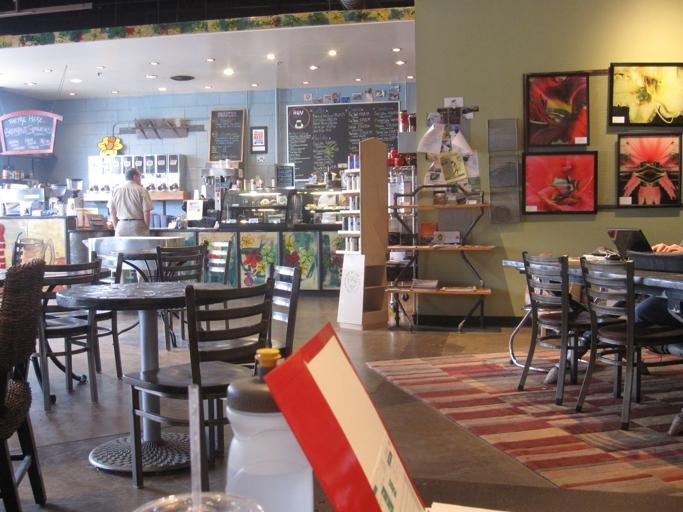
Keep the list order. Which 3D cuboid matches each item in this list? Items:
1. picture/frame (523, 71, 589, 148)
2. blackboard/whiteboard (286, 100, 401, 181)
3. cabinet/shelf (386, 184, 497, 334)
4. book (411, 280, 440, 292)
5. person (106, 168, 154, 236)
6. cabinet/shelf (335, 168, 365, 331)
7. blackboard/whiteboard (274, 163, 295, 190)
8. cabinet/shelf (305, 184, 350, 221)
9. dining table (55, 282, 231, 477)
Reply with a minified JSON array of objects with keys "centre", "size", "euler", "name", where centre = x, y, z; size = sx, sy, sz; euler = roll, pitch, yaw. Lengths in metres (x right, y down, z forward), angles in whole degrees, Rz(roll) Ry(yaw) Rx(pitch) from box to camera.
[{"centre":[2.207,-1.503,6.483],"size":[0.870,0.874,0.099],"euler":[0,0,10],"name":"picture/frame"},{"centre":[0.063,-1.836,9.881],"size":[2.188,1.293,0.036],"euler":[0,2,8],"name":"blackboard/whiteboard"},{"centre":[1.042,0.002,6.804],"size":[1.266,1.524,0.802],"euler":[4,10,31],"name":"cabinet/shelf"},{"centre":[0.884,0.288,6.689],"size":[0.275,0.081,0.424],"euler":[1,8,8],"name":"book"},{"centre":[-2.515,-0.620,7.509],"size":[0.513,0.783,0.407],"euler":[2,9,19],"name":"person"},{"centre":[0.093,-0.103,6.913],"size":[0.282,1.635,0.963],"euler":[-1,9,-1],"name":"cabinet/shelf"},{"centre":[-0.908,-1.270,10.269],"size":[0.434,0.551,0.409],"euler":[0,-3,0],"name":"blackboard/whiteboard"},{"centre":[-0.241,-0.765,9.394],"size":[0.648,0.352,0.616],"euler":[0,1,-4],"name":"cabinet/shelf"},{"centre":[-1.131,0.659,3.848],"size":[1.069,0.939,1.025],"euler":[1,1,43],"name":"dining table"}]
